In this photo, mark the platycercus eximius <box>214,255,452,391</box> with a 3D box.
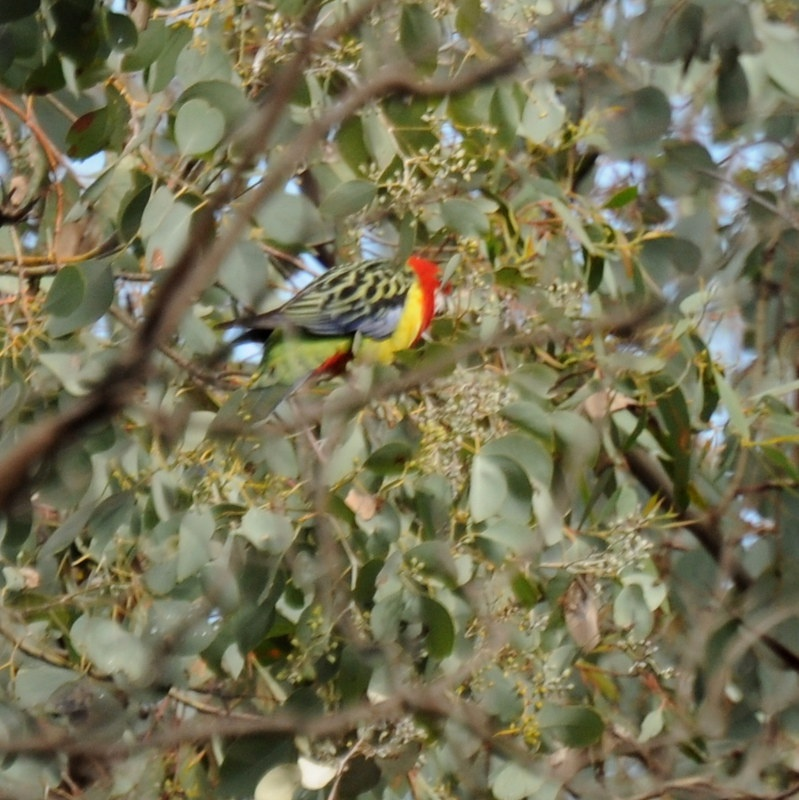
[{"bbox_3d":[-0.068,-0.079,1.339,0.270,0.107,0.172,5,86,-24],"label":"platycercus eximius"}]
